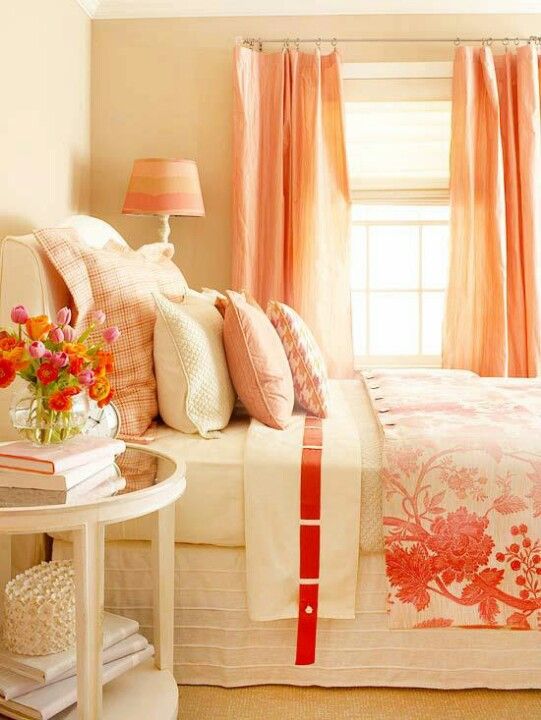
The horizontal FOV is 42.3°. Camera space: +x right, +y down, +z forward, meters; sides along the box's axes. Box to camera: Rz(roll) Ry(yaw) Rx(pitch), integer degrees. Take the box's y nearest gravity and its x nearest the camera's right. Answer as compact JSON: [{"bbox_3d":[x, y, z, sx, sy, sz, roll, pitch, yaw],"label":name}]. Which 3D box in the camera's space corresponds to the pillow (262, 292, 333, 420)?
[{"bbox_3d":[0.103,0.006,2.136,0.092,0.309,0.313,-8,1,13],"label":"pillow"}]

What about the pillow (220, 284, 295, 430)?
[{"bbox_3d":[-0.039,0.014,1.993,0.204,0.347,0.453,2,19,-5],"label":"pillow"}]

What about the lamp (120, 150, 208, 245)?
[{"bbox_3d":[-0.458,-0.681,3.148,0.387,0.500,0.414,0,7,-3],"label":"lamp"}]

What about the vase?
[{"bbox_3d":[-0.449,0.129,1.432,0.171,0.112,0.175,-4,-3,28],"label":"vase"}]

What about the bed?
[{"bbox_3d":[0.044,0.269,2.111,1.434,0.983,0.877,0,9,-1],"label":"bed"}]
